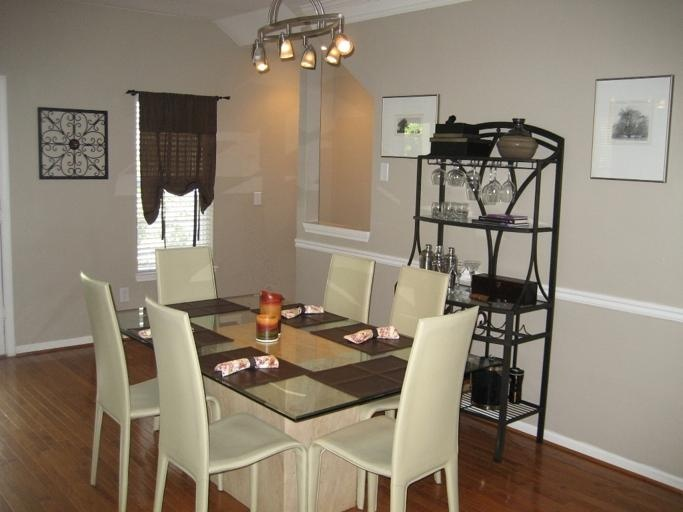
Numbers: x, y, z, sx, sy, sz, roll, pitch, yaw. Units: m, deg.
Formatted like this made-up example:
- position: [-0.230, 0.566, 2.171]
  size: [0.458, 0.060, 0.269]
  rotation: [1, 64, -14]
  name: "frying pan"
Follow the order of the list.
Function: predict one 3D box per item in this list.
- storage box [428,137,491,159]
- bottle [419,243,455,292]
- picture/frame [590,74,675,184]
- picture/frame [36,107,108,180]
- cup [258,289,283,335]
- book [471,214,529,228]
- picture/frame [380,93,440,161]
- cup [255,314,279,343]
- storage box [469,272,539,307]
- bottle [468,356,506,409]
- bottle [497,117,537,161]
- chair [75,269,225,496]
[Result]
- position: [0.842, -0.786, 4.002]
  size: [0.266, 0.106, 0.267]
  rotation: [-6, 12, -34]
  name: "storage box"
- position: [0.640, 0.092, 4.072]
  size: [0.266, 0.414, 0.292]
  rotation: [0, 0, 0]
  name: "bottle"
- position: [1.866, -0.817, 3.499]
  size: [0.608, 0.928, 0.030]
  rotation: [6, 7, 44]
  name: "picture/frame"
- position: [-2.572, -1.081, 5.198]
  size: [0.630, 0.744, 0.023]
  rotation: [-4, 10, -41]
  name: "picture/frame"
- position: [-0.437, 0.331, 3.310]
  size: [0.148, 0.277, 0.155]
  rotation: [2, 8, 0]
  name: "cup"
- position: [1.073, -0.246, 3.729]
  size: [0.364, 0.065, 0.228]
  rotation: [5, 10, 17]
  name: "book"
- position: [0.588, -1.087, 4.602]
  size: [0.042, 0.649, 0.618]
  rotation: [-2, 6, -40]
  name: "picture/frame"
- position: [-0.421, 0.413, 3.212]
  size: [0.130, 0.148, 0.128]
  rotation: [1, 2, 0]
  name: "cup"
- position: [1.116, 0.214, 3.830]
  size: [0.414, 0.184, 0.274]
  rotation: [10, 13, 41]
  name: "storage box"
- position: [1.006, 0.897, 3.957]
  size: [0.226, 0.320, 0.317]
  rotation: [14, -1, -16]
  name: "bottle"
- position: [1.197, -0.795, 3.771]
  size: [0.263, 0.289, 0.274]
  rotation: [5, 7, 18]
  name: "bottle"
- position: [-1.332, 0.548, 3.939]
  size: [1.032, 2.027, 1.008]
  rotation: [-6, 11, -33]
  name: "chair"
